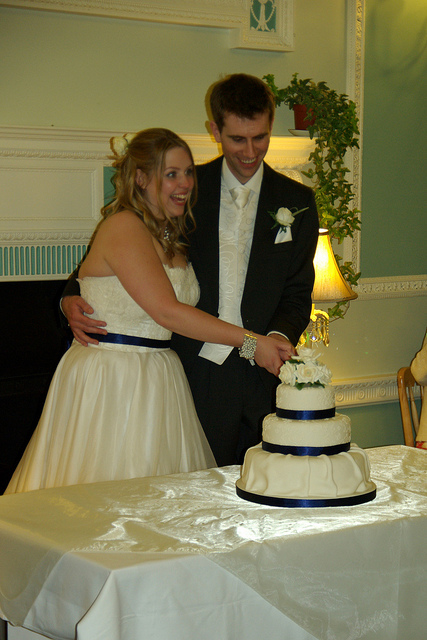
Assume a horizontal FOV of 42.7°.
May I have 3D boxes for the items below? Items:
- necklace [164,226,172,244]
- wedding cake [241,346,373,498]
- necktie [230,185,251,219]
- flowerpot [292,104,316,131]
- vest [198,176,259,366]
[{"bbox_3d":[-0.172,-0.323,2.056,0.029,0.070,0.057,1,4,-5],"label":"necklace"},{"bbox_3d":[0.230,0.245,1.353,0.332,0.294,0.302,1,0,-11],"label":"wedding cake"},{"bbox_3d":[0.108,-0.492,2.259,0.095,0.134,0.033,-3,8,0],"label":"necktie"},{"bbox_3d":[0.587,-1.389,3.716,0.163,0.159,0.155,0,1,-6],"label":"flowerpot"},{"bbox_3d":[0.097,-0.292,2.250,0.164,0.624,0.182,2,4,5],"label":"vest"}]
